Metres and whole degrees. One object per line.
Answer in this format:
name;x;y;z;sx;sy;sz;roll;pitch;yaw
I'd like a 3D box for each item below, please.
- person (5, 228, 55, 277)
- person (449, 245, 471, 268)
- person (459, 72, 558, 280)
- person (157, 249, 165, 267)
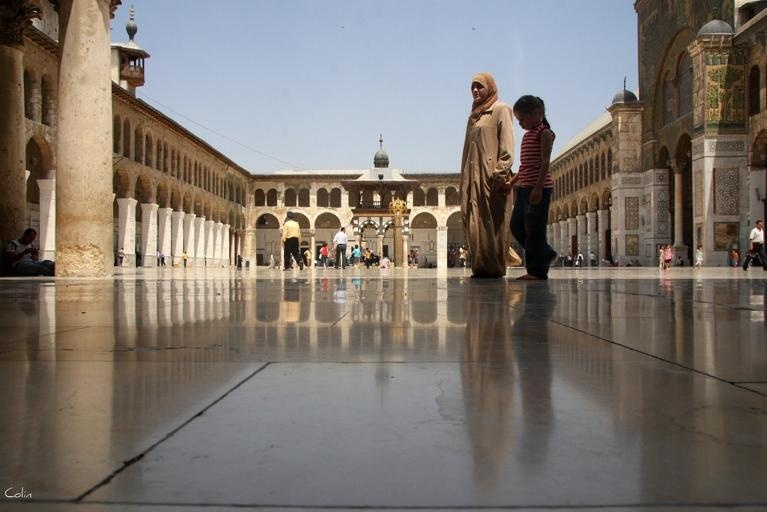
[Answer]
person;-5.583;-0.070;11.329;0.602;0.765;1.052;1;0;-34
person;4.431;0.111;42.710;1.668;1.602;0.888;-1;-6;-3
person;1.456;-0.930;8.252;1.282;2.330;0.583;1;0;45
person;-11.711;0.083;38.069;0.390;0.906;0.798;1;0;-18
